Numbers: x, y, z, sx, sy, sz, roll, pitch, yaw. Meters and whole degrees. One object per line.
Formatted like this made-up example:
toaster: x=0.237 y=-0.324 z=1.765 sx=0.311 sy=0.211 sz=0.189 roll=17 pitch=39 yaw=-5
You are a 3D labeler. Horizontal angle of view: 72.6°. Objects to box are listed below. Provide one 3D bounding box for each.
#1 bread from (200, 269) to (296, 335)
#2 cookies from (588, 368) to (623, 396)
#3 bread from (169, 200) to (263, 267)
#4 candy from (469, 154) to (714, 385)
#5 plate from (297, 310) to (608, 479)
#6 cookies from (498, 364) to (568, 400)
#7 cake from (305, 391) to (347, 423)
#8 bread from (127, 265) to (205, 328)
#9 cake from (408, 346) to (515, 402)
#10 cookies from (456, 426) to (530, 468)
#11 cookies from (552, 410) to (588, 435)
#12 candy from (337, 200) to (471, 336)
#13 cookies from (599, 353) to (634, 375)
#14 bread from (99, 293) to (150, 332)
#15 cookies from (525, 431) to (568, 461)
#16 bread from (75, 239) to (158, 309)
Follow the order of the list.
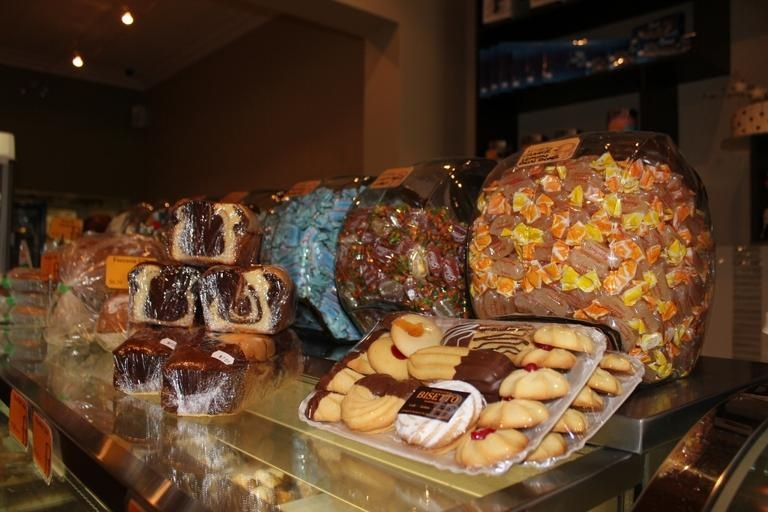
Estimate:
bread: x=-0.321 y=0.098 z=1.249 sx=0.238 sy=0.169 sz=0.142 roll=2 pitch=-4 yaw=1
cookies: x=0.361 y=0.211 z=0.872 sx=0.040 sy=0.018 sz=0.054 roll=-36 pitch=61 yaw=-28
bread: x=-0.400 y=-0.035 z=1.232 sx=0.168 sy=0.125 sz=0.168 roll=3 pitch=-1 yaw=5
candy: x=0.456 y=0.004 z=1.192 sx=0.471 sy=0.417 sz=0.451 roll=-5 pitch=-6 yaw=42
plate: x=0.086 y=0.224 z=0.869 sx=0.317 sy=0.045 sz=0.305 roll=7 pitch=36 yaw=36
cookies: x=0.237 y=0.195 z=0.833 sx=0.064 sy=0.020 sz=0.062 roll=-1 pitch=0 yaw=-20
cake: x=-0.106 y=0.267 z=0.918 sx=0.051 sy=0.016 sz=0.051 roll=8 pitch=45 yaw=26
bread: x=-0.512 y=0.099 z=1.235 sx=0.139 sy=0.122 sz=0.081 roll=1 pitch=-8 yaw=9
cake: x=0.127 y=0.183 z=0.878 sx=0.137 sy=0.054 sz=0.082 roll=9 pitch=14 yaw=24
cookies: x=0.154 y=0.290 z=0.776 sx=0.065 sy=0.023 sz=0.068 roll=-19 pitch=7 yaw=2
cookies: x=0.294 y=0.268 z=0.833 sx=0.061 sy=0.033 sz=0.024 roll=-5 pitch=14 yaw=-5
candy: x=0.029 y=0.016 z=1.267 sx=0.295 sy=0.230 sz=0.333 roll=-1 pitch=5 yaw=-3
cookies: x=0.396 y=0.180 z=0.885 sx=0.037 sy=0.014 sz=0.046 roll=2 pitch=1 yaw=-6
bread: x=-0.740 y=0.170 z=1.498 sx=0.133 sy=0.134 sz=0.036 roll=-4 pitch=-16 yaw=14
cookies: x=0.250 y=0.297 z=0.802 sx=0.044 sy=0.011 sz=0.042 roll=-26 pitch=2 yaw=3
bread: x=-0.824 y=0.037 z=1.612 sx=0.269 sy=0.203 sz=0.138 roll=0 pitch=-9 yaw=13
